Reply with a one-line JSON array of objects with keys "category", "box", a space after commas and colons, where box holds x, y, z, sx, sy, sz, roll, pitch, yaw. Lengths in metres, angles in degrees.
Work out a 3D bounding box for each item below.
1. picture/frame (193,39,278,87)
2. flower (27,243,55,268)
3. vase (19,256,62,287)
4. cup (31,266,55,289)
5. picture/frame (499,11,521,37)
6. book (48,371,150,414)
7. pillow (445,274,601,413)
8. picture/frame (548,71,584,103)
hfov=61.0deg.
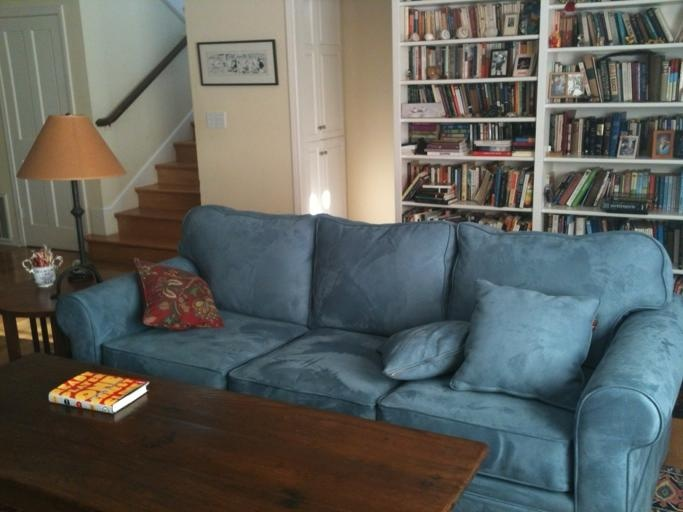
[{"category": "picture/frame", "box": [-0.896, -1.686, 5.032, 0.032, 0.376, 0.813, 19, 28, 38]}, {"category": "flower", "box": [-2.290, -0.012, 4.448, 0.192, 0.115, 0.229, -14, 32, -40]}, {"category": "vase", "box": [-1.958, 0.105, 3.790, 0.136, 0.167, 0.239, 6, 9, 42]}, {"category": "cup", "box": [-1.748, 0.124, 3.420, 0.136, 0.101, 0.125, -1, 6, 0]}, {"category": "picture/frame", "box": [1.204, -1.663, 4.138, 0.115, 0.151, 0.046, 2, 17, 13]}, {"category": "book", "box": [-0.914, 0.513, 2.189, 0.207, 0.036, 0.164, 5, 15, 16]}, {"category": "pillow", "box": [0.736, 0.353, 2.342, 0.507, 0.373, 0.309, 5, 17, 22]}, {"category": "picture/frame", "box": [1.554, -1.183, 4.016, 0.260, 0.192, 0.018, 2, 10, 16]}]
